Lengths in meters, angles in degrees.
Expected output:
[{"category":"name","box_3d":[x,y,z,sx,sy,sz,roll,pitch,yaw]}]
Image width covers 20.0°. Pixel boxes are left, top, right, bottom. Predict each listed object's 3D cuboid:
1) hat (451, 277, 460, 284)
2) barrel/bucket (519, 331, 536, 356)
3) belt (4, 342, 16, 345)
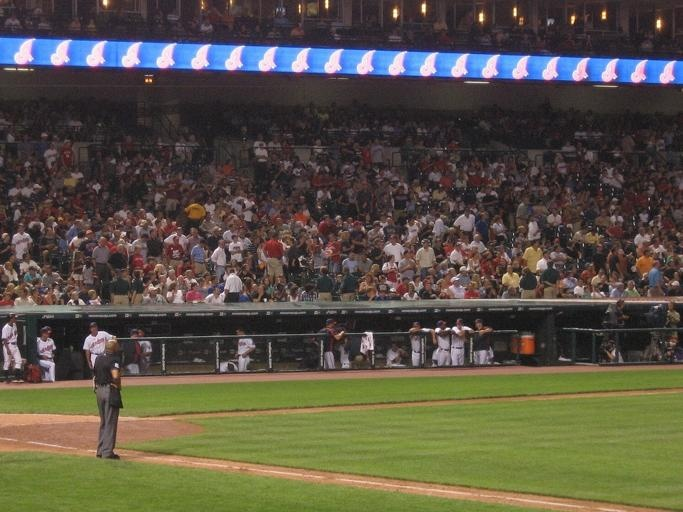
[{"category":"hat","box_3d":[4.673,0.969,78.833,0.332,0.303,0.326,-1,-6,-1]},{"category":"barrel/bucket","box_3d":[7.436,3.548,77.603,0.715,0.884,0.780,-1,-2,0]},{"category":"belt","box_3d":[-12.578,3.306,74.008,0.516,0.127,0.122,3,-8,-33]}]
